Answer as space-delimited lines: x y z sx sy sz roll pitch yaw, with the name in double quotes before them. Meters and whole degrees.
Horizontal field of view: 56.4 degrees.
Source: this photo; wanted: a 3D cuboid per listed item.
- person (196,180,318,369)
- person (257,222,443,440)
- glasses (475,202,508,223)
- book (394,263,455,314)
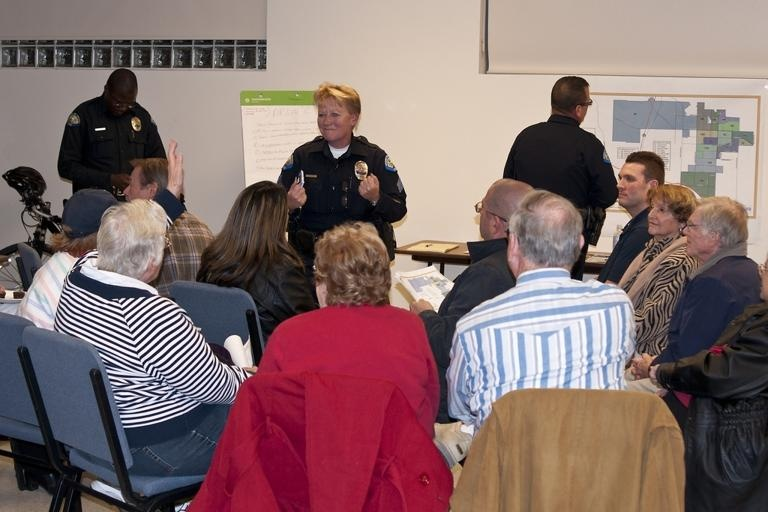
"person" -0.635 0.111 3.713 0.683 0.999 0.531 15 23 17
"person" -0.165 0.338 3.079 0.737 1.244 0.600 3 22 0
"glasses" 0.540 -0.213 3.570 0.112 0.039 0.128 18 11 -31
"book" 0.213 0.217 3.821 0.232 0.082 0.234 -15 47 -36
